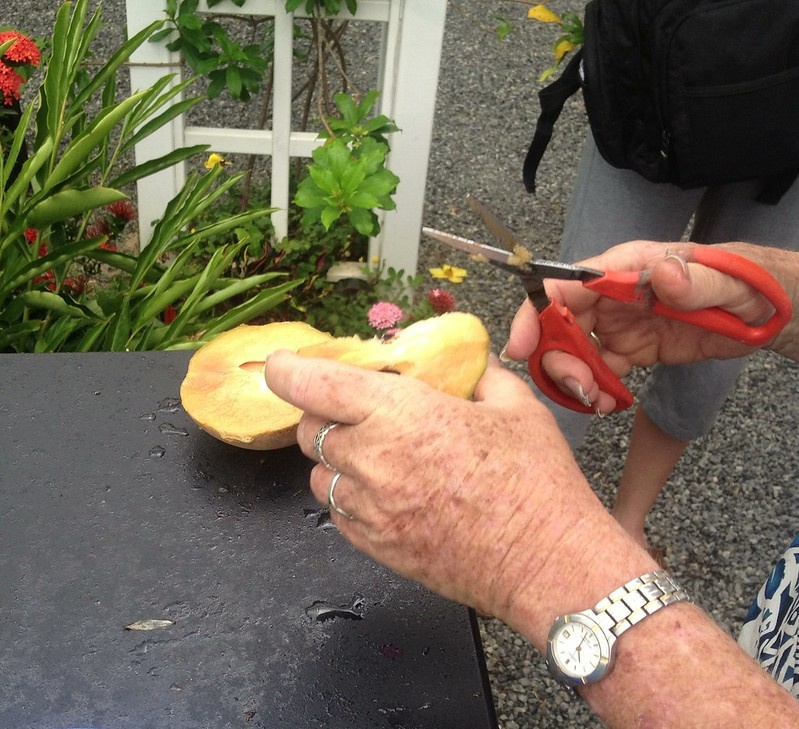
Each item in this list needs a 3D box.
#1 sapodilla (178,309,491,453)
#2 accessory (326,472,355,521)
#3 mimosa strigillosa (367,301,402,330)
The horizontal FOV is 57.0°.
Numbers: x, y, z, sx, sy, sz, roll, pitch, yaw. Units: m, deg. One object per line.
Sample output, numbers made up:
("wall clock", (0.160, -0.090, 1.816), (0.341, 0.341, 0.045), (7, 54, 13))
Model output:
("sapodilla", (-0.078, 0.033, 0.892), (0.318, 0.064, 0.201), (-7, 26, -6))
("accessory", (-0.068, 0.142, 0.780), (0.011, 0.040, 0.036), (-5, 12, 33))
("mimosa strigillosa", (-0.042, -0.134, 2.157), (0.111, 0.081, 0.091), (-3, 56, -3))
